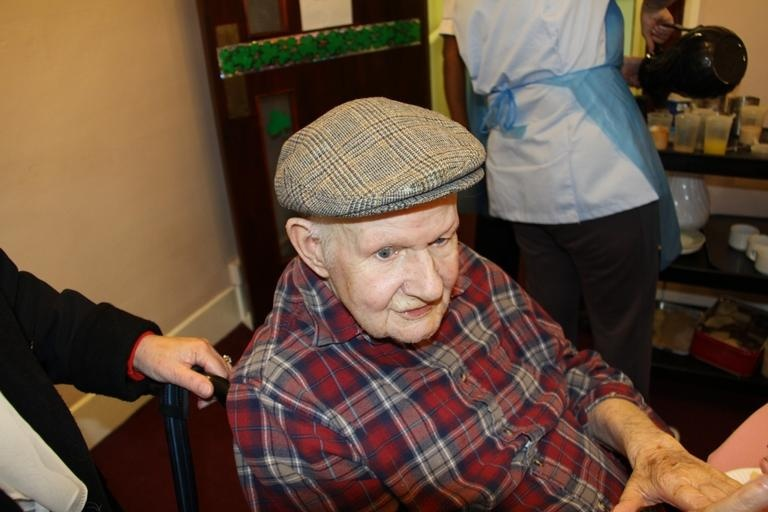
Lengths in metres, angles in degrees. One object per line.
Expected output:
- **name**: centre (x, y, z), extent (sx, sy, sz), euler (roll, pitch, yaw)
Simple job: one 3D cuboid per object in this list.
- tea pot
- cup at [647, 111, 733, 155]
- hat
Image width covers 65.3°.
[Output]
- **tea pot**: centre (1.156, -0.700, 2.314), extent (0.350, 0.253, 0.385), euler (-21, 9, 13)
- **cup**: centre (1.252, -0.495, 2.477), extent (0.196, 0.148, 0.298), euler (-22, 24, -40)
- **hat**: centre (-0.041, -0.229, 1.425), extent (0.357, 0.152, 0.330), euler (13, 28, 42)
